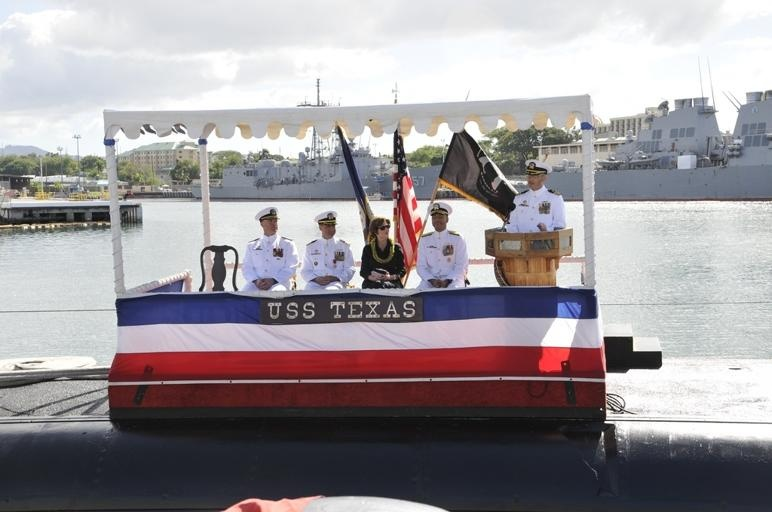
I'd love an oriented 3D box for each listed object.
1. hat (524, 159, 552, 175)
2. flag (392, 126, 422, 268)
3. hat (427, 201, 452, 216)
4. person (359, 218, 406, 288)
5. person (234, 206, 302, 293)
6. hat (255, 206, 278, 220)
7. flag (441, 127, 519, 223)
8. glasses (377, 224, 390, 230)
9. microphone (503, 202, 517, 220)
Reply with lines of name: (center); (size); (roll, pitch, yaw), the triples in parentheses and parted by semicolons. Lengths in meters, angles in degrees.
hat: (4.081, -2.400, 36.234); (0.634, 0.400, 0.435); (-1, 4, 5)
flag: (0.592, -1.579, 37.802); (0.901, 5.087, 1.023); (-6, 28, -4)
hat: (1.467, -1.323, 37.259); (0.679, 0.369, 0.355); (-2, 4, -16)
person: (-0.139, -0.149, 36.899); (1.005, 2.117, 1.293); (0, 0, 1)
person: (-3.273, -0.214, 36.981); (1.536, 2.259, 0.745); (-2, 4, -5)
hat: (-3.354, -1.164, 37.119); (0.571, 0.378, 0.392); (-2, 4, -7)
flag: (2.389, -2.214, 37.874); (1.759, 2.996, 2.466); (3, -1, -16)
glasses: (-0.099, -0.783, 36.666); (0.309, 0.148, 0.105); (-3, 4, -26)
microphone: (3.313, -1.267, 36.971); (0.126, 0.439, 0.288); (26, 28, -31)
